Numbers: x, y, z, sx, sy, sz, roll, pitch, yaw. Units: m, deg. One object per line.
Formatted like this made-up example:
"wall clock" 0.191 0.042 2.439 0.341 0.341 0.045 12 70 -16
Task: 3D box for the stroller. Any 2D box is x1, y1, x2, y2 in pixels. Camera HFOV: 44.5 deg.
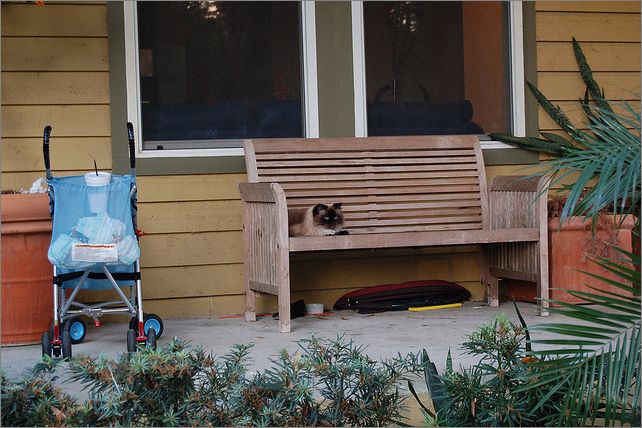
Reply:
"stroller" -1.387 0.130 4.861 0.714 1.396 0.744 -3 3 -12

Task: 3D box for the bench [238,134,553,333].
"bench" 0.499 0.073 5.549 2.157 1.326 0.868 -2 1 -23

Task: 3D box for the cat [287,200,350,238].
"cat" -0.069 0.021 5.669 0.392 0.205 0.552 -10 8 -34
